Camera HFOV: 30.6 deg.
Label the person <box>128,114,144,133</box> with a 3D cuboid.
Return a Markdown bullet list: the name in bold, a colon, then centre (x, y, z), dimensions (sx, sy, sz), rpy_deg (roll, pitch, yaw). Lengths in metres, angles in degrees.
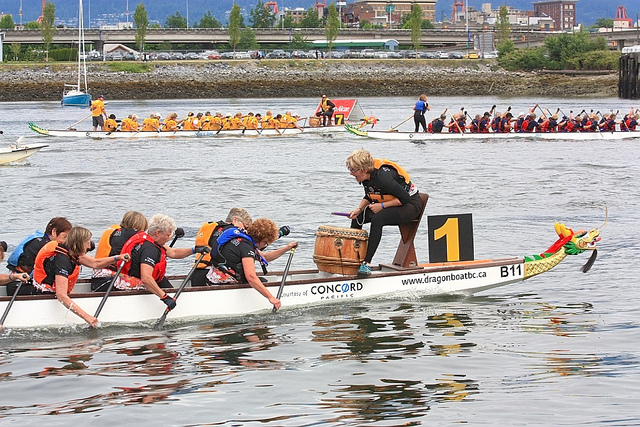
- **person**: centre (-7.728, -3.797, 49.336), dimensions (0.458, 0.616, 0.704), rpy_deg (-1, 10, -9)

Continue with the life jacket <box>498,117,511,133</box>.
- **life jacket**: centre (7.713, -3.683, 49.324), dimensions (0.663, 0.600, 0.484), rpy_deg (0, -3, 1)

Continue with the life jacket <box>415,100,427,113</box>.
- **life jacket**: centre (4.170, -4.619, 48.476), dimensions (0.461, 0.398, 0.545), rpy_deg (6, -35, 15)

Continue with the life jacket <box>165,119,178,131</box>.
- **life jacket**: centre (-6.196, -3.791, 49.421), dimensions (0.532, 0.469, 0.309), rpy_deg (1, 10, 3)

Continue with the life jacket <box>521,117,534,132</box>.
- **life jacket**: centre (8.543, -3.773, 48.930), dimensions (0.554, 0.499, 0.491), rpy_deg (12, -6, -27)

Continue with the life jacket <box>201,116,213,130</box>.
- **life jacket**: centre (-4.755, -3.945, 50.353), dimensions (0.470, 0.552, 0.177), rpy_deg (6, 0, 29)

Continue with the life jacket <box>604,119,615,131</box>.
- **life jacket**: centre (12.079, -3.801, 49.251), dimensions (0.432, 0.406, 0.426), rpy_deg (7, 11, 29)

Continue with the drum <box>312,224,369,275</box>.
- **drum**: centre (0.551, 0.789, 26.192), dimensions (0.864, 1.214, 1.602), rpy_deg (1, 0, 26)

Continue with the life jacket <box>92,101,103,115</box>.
- **life jacket**: centre (-9.245, -4.514, 49.358), dimensions (0.558, 0.514, 0.340), rpy_deg (8, 22, 13)

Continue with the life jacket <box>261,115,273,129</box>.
- **life jacket**: centre (-2.313, -4.065, 51.164), dimensions (0.553, 0.526, 0.567), rpy_deg (0, -1, 4)

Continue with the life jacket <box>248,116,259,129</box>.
- **life jacket**: centre (-2.869, -4.022, 51.092), dimensions (0.544, 0.469, 0.515), rpy_deg (-1, 3, 2)

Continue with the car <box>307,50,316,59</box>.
- **car**: centre (-0.776, -16.530, 119.806), dimensions (1.145, 0.788, 1.778), rpy_deg (3, 12, 4)

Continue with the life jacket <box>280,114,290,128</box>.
- **life jacket**: centre (-1.474, -4.130, 51.590), dimensions (0.502, 0.593, 0.217), rpy_deg (3, -5, 2)

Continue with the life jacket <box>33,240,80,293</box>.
- **life jacket**: centre (-5.529, 1.112, 24.832), dimensions (1.032, 1.187, 0.310), rpy_deg (3, 11, 15)

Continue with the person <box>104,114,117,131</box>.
- **person**: centre (-8.685, -3.882, 49.329), dimensions (0.501, 0.647, 0.742), rpy_deg (-2, 10, -12)

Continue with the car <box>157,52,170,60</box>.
- **car**: centre (-15.035, -15.509, 114.109), dimensions (0.987, 0.651, 2.011), rpy_deg (0, 12, -19)

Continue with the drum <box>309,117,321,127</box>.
- **drum**: centre (-0.196, -4.111, 51.855), dimensions (0.488, 0.361, 0.418), rpy_deg (2, 14, 5)

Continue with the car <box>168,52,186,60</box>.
- **car**: centre (-13.913, -15.722, 115.805), dimensions (1.187, 0.756, 2.331), rpy_deg (1, 13, 0)

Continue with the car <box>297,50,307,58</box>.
- **car**: centre (-1.757, -16.633, 121.802), dimensions (1.090, 0.807, 1.753), rpy_deg (1, 21, -4)

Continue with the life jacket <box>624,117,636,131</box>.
- **life jacket**: centre (13.112, -3.888, 49.973), dimensions (0.432, 0.510, 0.506), rpy_deg (4, -23, -3)

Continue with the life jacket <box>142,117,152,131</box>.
- **life jacket**: centre (-7.215, -3.821, 49.414), dimensions (0.443, 0.512, 0.402), rpy_deg (-12, 6, -34)

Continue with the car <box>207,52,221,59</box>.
- **car**: centre (-10.352, -15.791, 116.097), dimensions (0.965, 0.682, 1.568), rpy_deg (1, 10, -10)

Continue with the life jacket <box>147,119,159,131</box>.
- **life jacket**: centre (-6.878, -3.771, 49.248), dimensions (0.409, 0.476, 0.452), rpy_deg (-2, -7, -38)

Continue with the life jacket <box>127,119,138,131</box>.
- **life jacket**: centre (-7.776, -3.795, 49.265), dimensions (0.606, 0.368, 0.311), rpy_deg (0, 1, 2)

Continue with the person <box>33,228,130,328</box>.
- **person**: centre (-5.140, 1.309, 24.778), dimensions (1.653, 2.074, 0.647), rpy_deg (-2, 11, -13)
